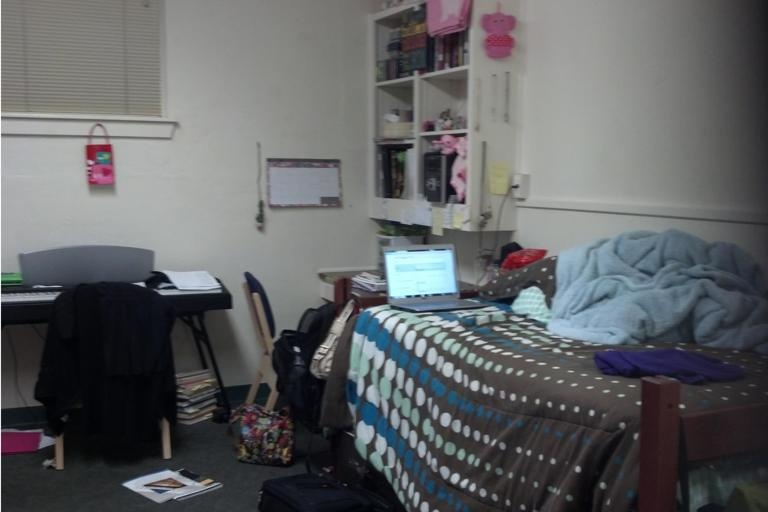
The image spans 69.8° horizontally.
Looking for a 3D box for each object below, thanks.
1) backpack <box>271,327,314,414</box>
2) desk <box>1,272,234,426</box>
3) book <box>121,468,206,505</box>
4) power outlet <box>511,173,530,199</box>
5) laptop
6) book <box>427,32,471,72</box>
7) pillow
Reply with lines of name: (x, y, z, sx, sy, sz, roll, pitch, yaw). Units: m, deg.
backpack: (-0.567, 0.717, 3.400, 0.170, 0.451, 0.362, 3, -1, -29)
desk: (-1.703, 0.577, 3.383, 1.091, 0.685, 0.391, -2, 5, -14)
book: (-1.248, 1.303, 3.118, 0.349, 0.039, 0.360, -8, 8, -42)
power outlet: (0.896, -0.462, 3.588, 0.171, 0.162, 0.091, -2, 4, -18)
laptop: (0.287, 0.133, 3.137, 0.506, 0.345, 0.423, -2, 3, -27)
book: (0.435, -1.366, 3.656, 0.074, 0.253, 0.373, -6, 7, -24)
pillow: (0.813, 0.143, 3.225, 0.193, 0.272, 0.532, -8, 8, -35)
